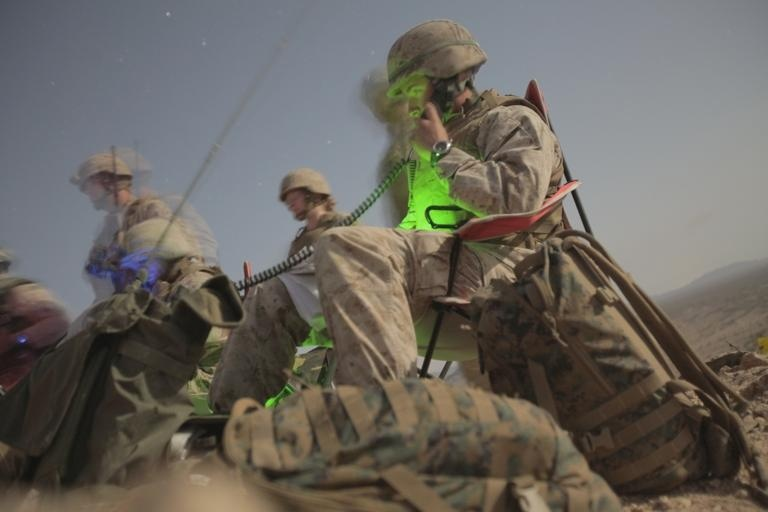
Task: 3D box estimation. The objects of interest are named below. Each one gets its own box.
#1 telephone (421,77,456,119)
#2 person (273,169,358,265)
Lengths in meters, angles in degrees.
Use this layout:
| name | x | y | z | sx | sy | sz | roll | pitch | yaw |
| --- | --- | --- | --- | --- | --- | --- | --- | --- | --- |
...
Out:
| name | x | y | z | sx | sy | sz | roll | pitch | yaw |
| --- | --- | --- | --- | --- | --- | --- | --- | --- | --- |
| telephone | 0.354 | -0.935 | 3.763 | 0.165 | 0.259 | 0.237 | 9 | 2 | 31 |
| person | -0.783 | -0.487 | 6.532 | 0.602 | 1.018 | 0.879 | 0 | -13 | -45 |
